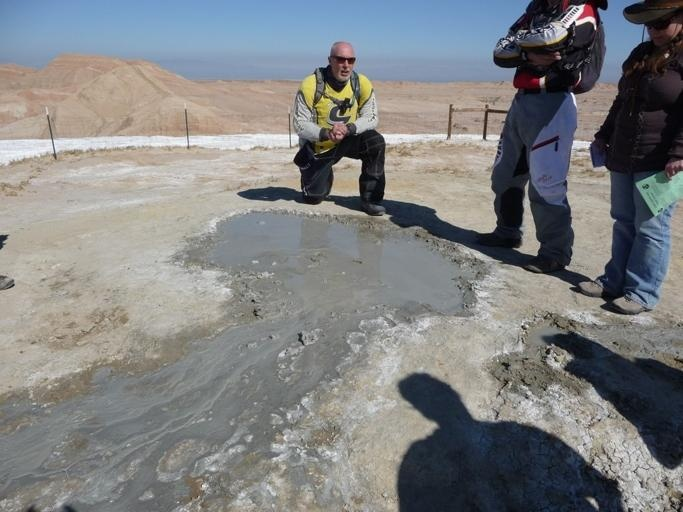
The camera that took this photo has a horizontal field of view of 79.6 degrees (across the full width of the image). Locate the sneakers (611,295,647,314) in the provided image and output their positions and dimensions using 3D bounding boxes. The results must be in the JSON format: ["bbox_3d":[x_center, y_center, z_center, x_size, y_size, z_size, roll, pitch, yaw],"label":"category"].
[{"bbox_3d":[2.110,0.357,3.074,0.258,0.092,0.113,5,36,4],"label":"sneakers"}]

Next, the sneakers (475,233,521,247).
[{"bbox_3d":[1.563,-0.157,4.194,0.441,0.158,0.158,7,13,11],"label":"sneakers"}]

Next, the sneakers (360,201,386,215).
[{"bbox_3d":[0.398,-0.582,4.977,0.129,0.128,0.351,-14,16,-43],"label":"sneakers"}]

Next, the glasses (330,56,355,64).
[{"bbox_3d":[-0.010,-2.270,4.758,0.299,0.094,0.136,4,24,8],"label":"glasses"}]

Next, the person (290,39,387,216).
[{"bbox_3d":[-0.056,-1.545,5.004,1.193,1.908,0.998,3,27,4],"label":"person"}]

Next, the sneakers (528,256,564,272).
[{"bbox_3d":[1.780,0.067,3.667,0.331,0.104,0.136,3,-1,-11],"label":"sneakers"}]
